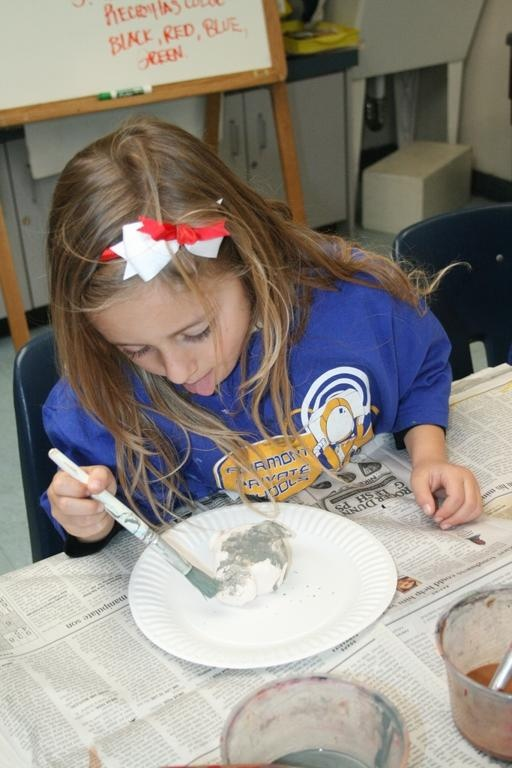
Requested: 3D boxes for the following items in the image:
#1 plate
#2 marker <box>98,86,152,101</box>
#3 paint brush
[{"bbox_3d":[0.000,0.171,0.609,0.220,0.112,0.153,-16,25,-23],"label":"plate"},{"bbox_3d":[-0.303,-0.672,1.575,0.129,0.025,0.028,-20,27,-29],"label":"marker"},{"bbox_3d":[-0.127,0.143,0.699,0.022,0.209,0.034,-51,-4,-4],"label":"paint brush"}]
